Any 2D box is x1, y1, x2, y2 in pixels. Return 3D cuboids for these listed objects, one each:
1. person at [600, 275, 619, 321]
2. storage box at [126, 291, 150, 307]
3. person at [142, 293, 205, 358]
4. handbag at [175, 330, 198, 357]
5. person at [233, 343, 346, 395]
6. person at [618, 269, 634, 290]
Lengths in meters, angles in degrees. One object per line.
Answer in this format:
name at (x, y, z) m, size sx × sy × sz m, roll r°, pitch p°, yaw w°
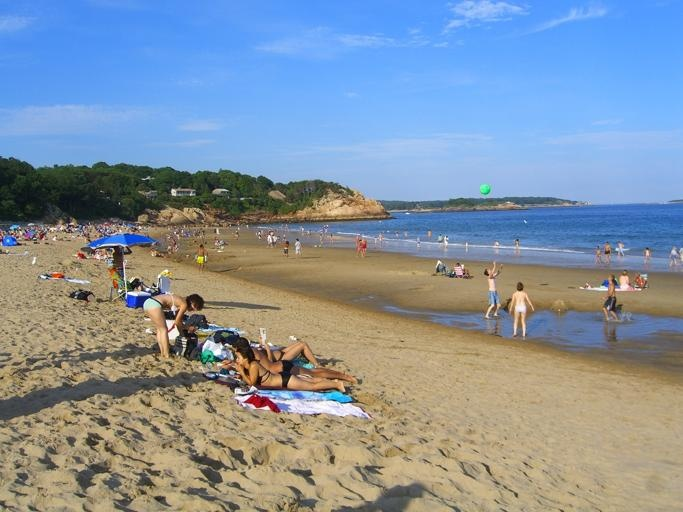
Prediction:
person at (8.490, 1.238, 18.294) m, size 0.547 × 1.392 × 1.259 m, roll 15°, pitch 14°, yaw 23°
storage box at (-5.301, 1.102, 15.224) m, size 0.481 × 0.298 × 0.462 m, roll -2°, pitch 5°, yaw -34°
person at (-3.392, 1.299, 11.783) m, size 0.957 × 1.090 × 1.202 m, roll -1°, pitch 14°, yaw -35°
handbag at (-3.025, 1.712, 11.461) m, size 0.424 × 0.425 × 0.597 m, roll 5°, pitch 12°, yaw -14°
person at (-0.864, 2.056, 10.445) m, size 2.173 × 0.729 × 0.538 m, roll 8°, pitch 1°, yaw -23°
person at (12.409, 1.024, 25.591) m, size 0.783 × 0.722 × 0.633 m, roll 5°, pitch 8°, yaw 43°
